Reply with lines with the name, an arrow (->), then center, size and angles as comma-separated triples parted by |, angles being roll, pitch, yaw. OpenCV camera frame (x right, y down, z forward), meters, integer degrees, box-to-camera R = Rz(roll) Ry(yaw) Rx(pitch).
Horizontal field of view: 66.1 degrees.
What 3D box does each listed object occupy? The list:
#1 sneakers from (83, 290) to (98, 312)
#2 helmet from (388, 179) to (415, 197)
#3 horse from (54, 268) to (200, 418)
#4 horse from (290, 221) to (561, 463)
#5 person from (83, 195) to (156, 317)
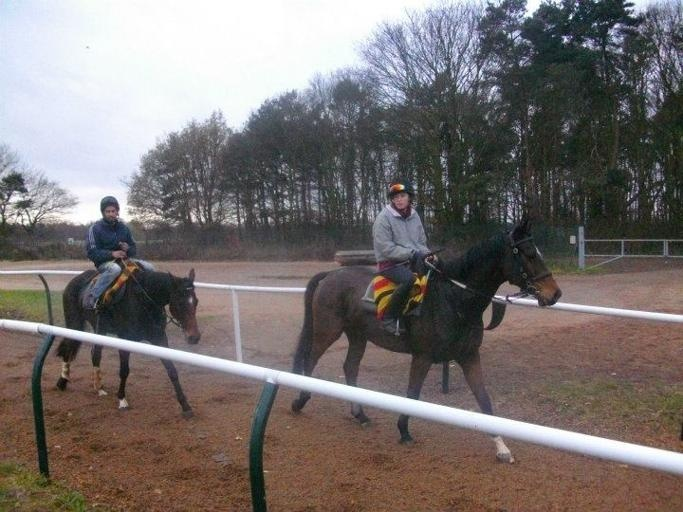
sneakers -> -3.330, 0.588, 6.921 | 0.210, 0.345, 0.107 | -15, -14, 42
helmet -> 0.666, -0.755, 5.861 | 0.221, 0.207, 0.189 | 6, 4, 10
horse -> -2.928, 0.996, 7.024 | 2.540, 1.919, 0.768 | 3, 6, 25
horse -> 0.768, 0.906, 5.878 | 2.985, 2.558, 0.856 | 1, 3, 29
person -> -3.039, -0.052, 7.124 | 0.825, 1.458, 0.710 | -6, 3, -37
